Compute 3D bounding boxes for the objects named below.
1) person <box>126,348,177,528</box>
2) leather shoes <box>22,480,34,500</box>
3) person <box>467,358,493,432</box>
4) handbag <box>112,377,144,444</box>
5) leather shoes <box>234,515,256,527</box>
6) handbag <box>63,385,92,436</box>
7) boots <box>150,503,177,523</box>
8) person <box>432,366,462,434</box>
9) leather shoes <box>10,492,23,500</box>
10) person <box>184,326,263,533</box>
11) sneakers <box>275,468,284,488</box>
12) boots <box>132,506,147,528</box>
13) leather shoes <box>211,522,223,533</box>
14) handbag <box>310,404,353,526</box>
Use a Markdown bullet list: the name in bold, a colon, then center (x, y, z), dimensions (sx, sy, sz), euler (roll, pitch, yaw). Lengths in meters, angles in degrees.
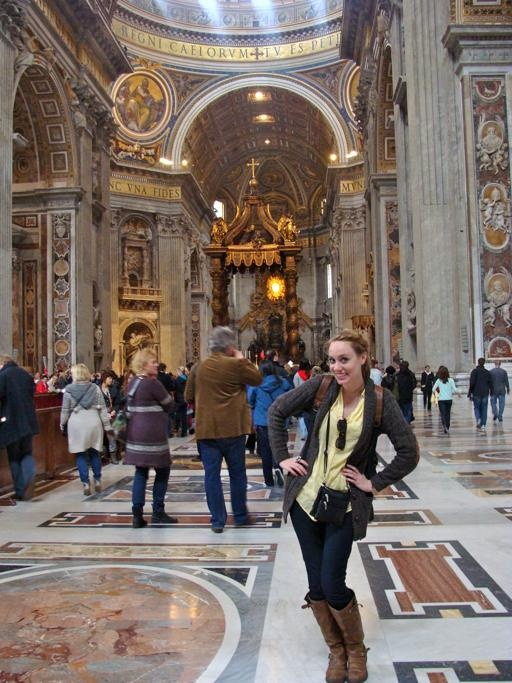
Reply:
- **person**: center (-0.803, 0.717, 4.758), dimensions (0.357, 1.301, 0.482), euler (-3, 0, -11)
- **leather shoes**: center (-2.028, 1.334, 5.648), dimensions (0.058, 0.175, 0.116), euler (13, -11, -15)
- **person**: center (3.603, 0.846, 10.247), dimensions (0.363, 1.185, 0.819), euler (-3, 0, 20)
- **handbag**: center (-0.992, 0.534, 4.800), dimensions (0.318, 0.430, 0.446), euler (0, -18, -1)
- **leather shoes**: center (-0.086, 1.302, 4.586), dimensions (0.058, 0.079, 0.175), euler (-1, -5, 25)
- **handbag**: center (-1.691, 0.633, 6.072), dimensions (0.343, 0.481, 0.142), euler (-3, 0, -15)
- **boots**: center (-0.693, 1.285, 4.695), dimensions (0.244, 0.189, 0.088), euler (1, -5, -12)
- **person**: center (2.981, 0.916, 10.043), dimensions (0.326, 1.069, 1.274), euler (-3, 0, 16)
- **leather shoes**: center (-2.173, 1.413, 5.762), dimensions (0.074, 0.059, 0.294), euler (-3, 0, -28)
- **person**: center (-0.221, 0.616, 4.536), dimensions (0.424, 1.440, 0.406), euler (-3, 0, -28)
- **sneakers**: center (0.229, 1.387, 6.436), dimensions (0.070, 0.201, 0.079), euler (-10, 7, 1)
- **boots**: center (-0.835, 1.271, 4.536), dimensions (0.105, 0.142, 0.162), euler (-3, 0, -12)
- **leather shoes**: center (-0.268, 1.276, 4.319), dimensions (0.058, 0.067, 0.169), euler (1, -1, -1)
- **handbag**: center (0.261, 0.422, 2.057), dimensions (0.109, 0.391, 0.043), euler (8, 14, 15)
